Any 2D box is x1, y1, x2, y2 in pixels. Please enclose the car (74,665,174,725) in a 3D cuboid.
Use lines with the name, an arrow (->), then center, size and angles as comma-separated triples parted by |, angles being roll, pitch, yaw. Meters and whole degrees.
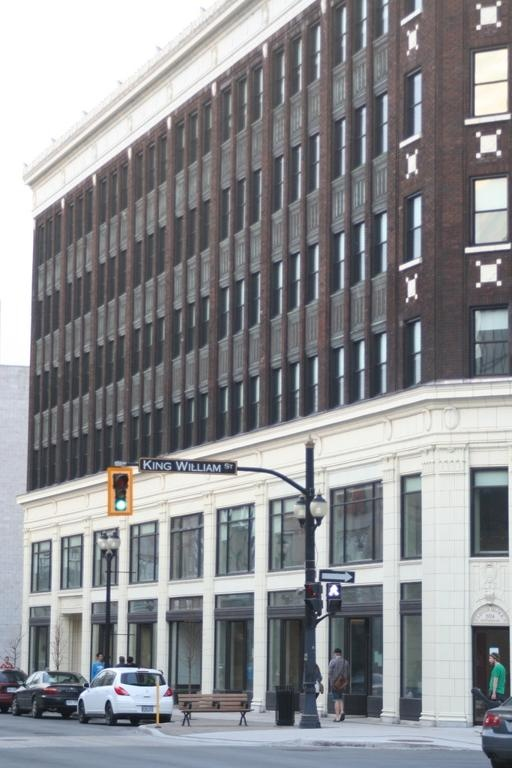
car -> -3.374, 7.460, 43.940 | 1.247, 1.386, 4.015 | 9, -20, -35

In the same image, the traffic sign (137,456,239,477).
traffic sign -> -1.644, 1.839, 43.497 | 2.255, 0.495, 0.906 | 0, -16, -7

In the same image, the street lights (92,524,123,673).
street lights -> -4.987, 7.251, 61.990 | 0.728, 5.635, 0.672 | 4, -13, -30
